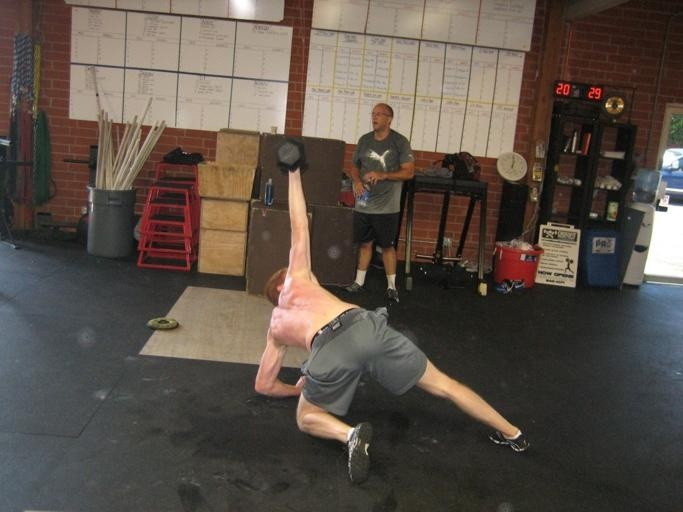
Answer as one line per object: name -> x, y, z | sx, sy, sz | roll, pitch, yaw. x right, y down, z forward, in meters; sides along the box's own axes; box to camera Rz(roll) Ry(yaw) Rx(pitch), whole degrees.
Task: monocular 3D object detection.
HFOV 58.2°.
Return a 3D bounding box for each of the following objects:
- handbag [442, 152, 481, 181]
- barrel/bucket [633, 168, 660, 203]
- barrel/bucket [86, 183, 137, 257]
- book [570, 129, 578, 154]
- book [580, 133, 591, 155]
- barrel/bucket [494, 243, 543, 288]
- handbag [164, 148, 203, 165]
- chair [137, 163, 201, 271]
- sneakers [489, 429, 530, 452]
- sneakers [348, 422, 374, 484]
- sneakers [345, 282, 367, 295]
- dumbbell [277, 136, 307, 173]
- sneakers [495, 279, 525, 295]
handbag -> 1.450, -1.111, 7.663 | 0.571, 0.497, 0.345 | 0, 8, -3
barrel/bucket -> 4.309, -0.974, 8.779 | 0.320, 0.483, 0.312 | 6, 9, -1
barrel/bucket -> -2.819, -0.492, 7.807 | 0.746, 0.959, 0.844 | -3, 11, -28
book -> 3.117, -1.515, 8.237 | 0.100, 0.283, 0.054 | -4, 15, -40
book -> 3.247, -1.480, 8.202 | 0.098, 0.279, 0.048 | 13, 13, 29
barrel/bucket -> 2.249, 0.126, 7.995 | 0.627, 0.458, 0.601 | 5, 6, -1
handbag -> -2.007, -1.235, 7.796 | 0.353, 0.153, 0.470 | 1, 10, 3
chair -> -2.144, -0.556, 7.685 | 0.739, 1.202, 1.414 | 3, 12, -16
sneakers -> 1.168, 1.287, 4.363 | 0.289, 0.129, 0.123 | 7, 8, 37
sneakers -> 0.098, 1.230, 3.851 | 0.157, 0.359, 0.166 | 12, -15, -29
sneakers -> 0.147, 0.377, 7.043 | 0.191, 0.083, 0.100 | -3, 48, -44
dumbbell -> -0.294, -0.612, 3.852 | 0.192, 0.197, 0.230 | -24, 13, 4
sneakers -> 2.053, 0.387, 7.605 | 0.274, 0.085, 0.176 | -5, 16, -23
